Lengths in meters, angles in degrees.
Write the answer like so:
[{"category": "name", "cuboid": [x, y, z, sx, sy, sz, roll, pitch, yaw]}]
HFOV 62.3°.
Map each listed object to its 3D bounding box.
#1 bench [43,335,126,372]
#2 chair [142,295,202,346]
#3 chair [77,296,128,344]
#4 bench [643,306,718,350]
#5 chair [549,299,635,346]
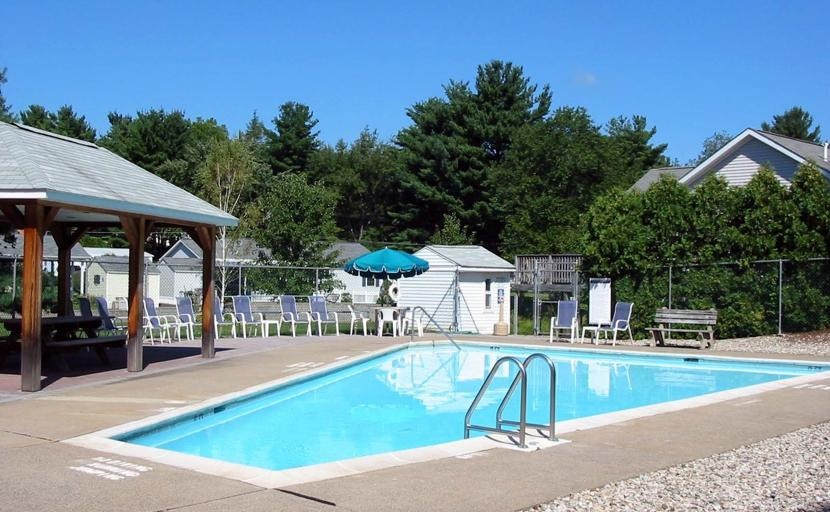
[{"category": "bench", "cuboid": [-8.903, 2.556, 18.730, 1.823, 0.813, 3.335, 2, -7, -23]}, {"category": "chair", "cuboid": [-9.175, 2.427, 26.117, 0.834, 1.300, 1.928, -3, -5, 23]}, {"category": "chair", "cuboid": [-10.566, 2.126, 23.304, 0.701, 1.115, 1.679, -1, -2, -1]}, {"category": "bench", "cuboid": [9.667, 2.508, 24.558, 2.049, 1.431, 2.699, -4, -7, 24]}, {"category": "chair", "cuboid": [6.979, 2.508, 25.999, 2.963, 1.519, 3.132, -1, -6, 1]}]
